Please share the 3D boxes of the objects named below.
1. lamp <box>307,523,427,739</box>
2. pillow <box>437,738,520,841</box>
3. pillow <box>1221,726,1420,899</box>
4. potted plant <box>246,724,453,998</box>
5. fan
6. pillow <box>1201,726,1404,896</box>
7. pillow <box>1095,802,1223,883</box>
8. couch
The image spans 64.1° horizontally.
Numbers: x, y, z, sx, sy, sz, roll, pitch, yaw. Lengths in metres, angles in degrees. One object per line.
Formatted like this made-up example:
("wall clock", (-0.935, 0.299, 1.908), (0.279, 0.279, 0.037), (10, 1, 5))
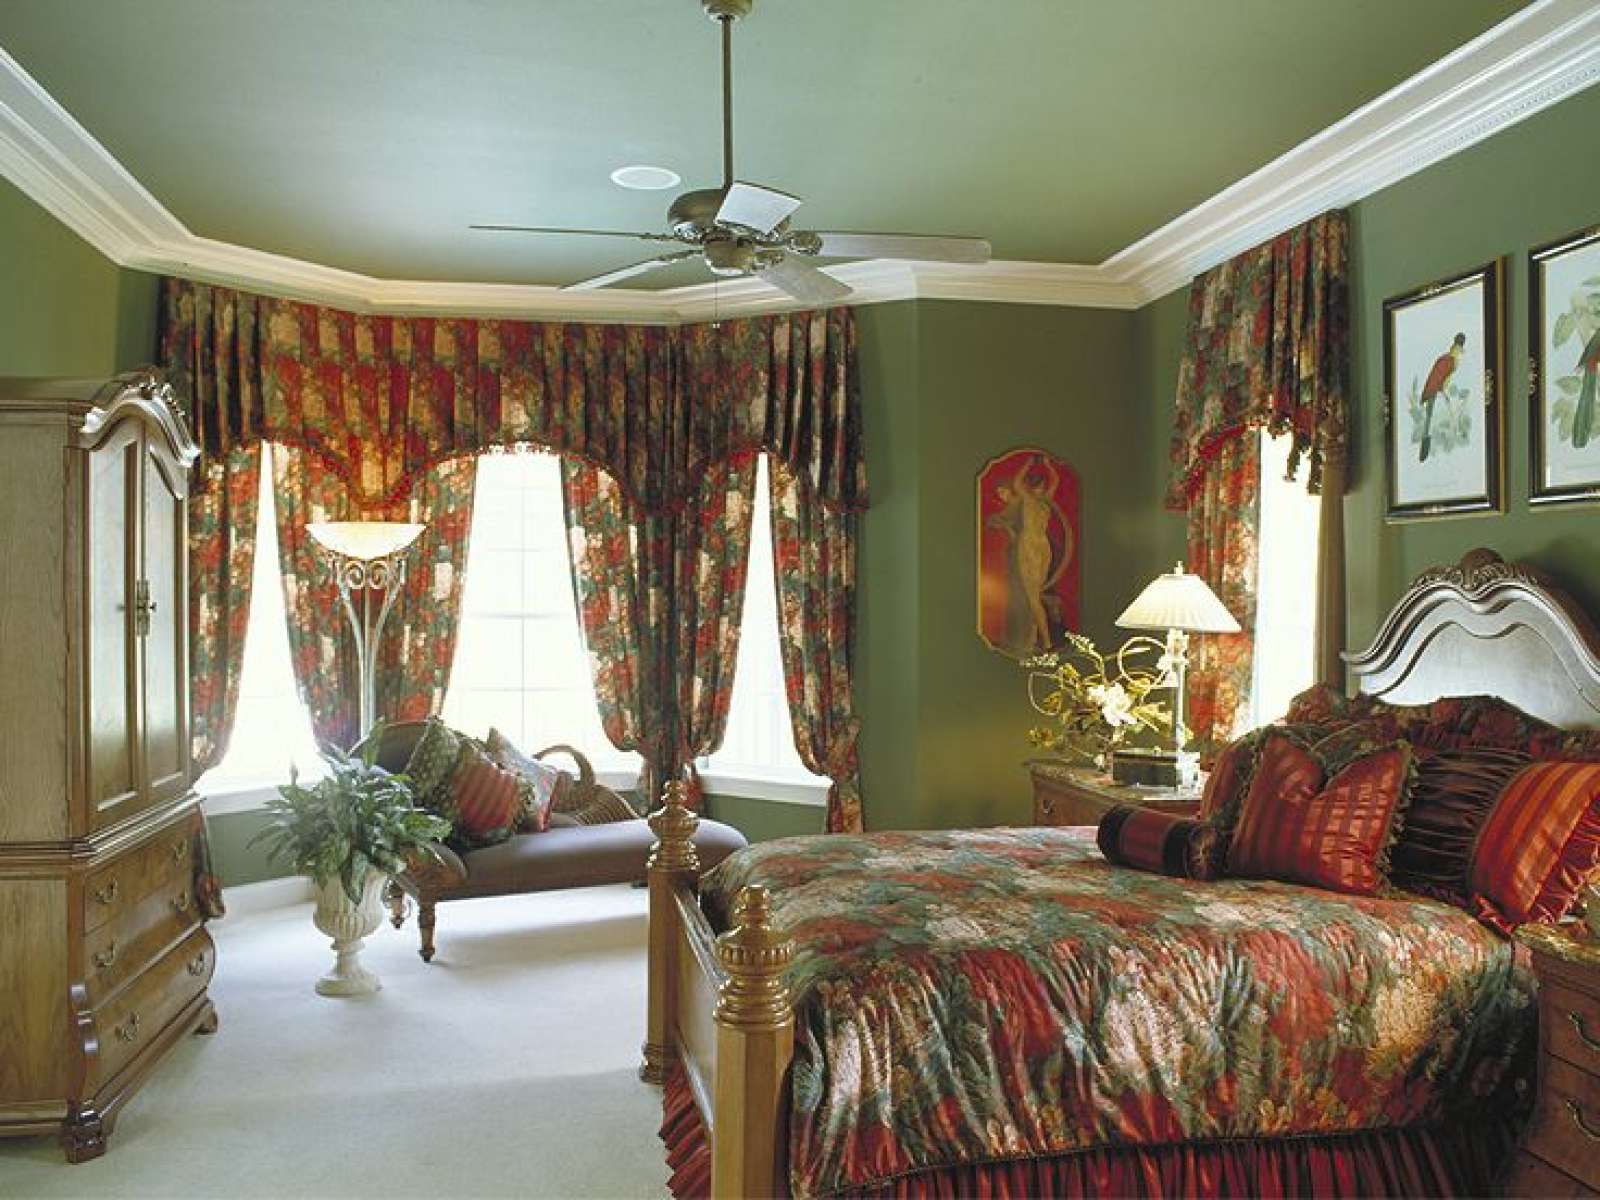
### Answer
("lamp", (-2.364, 0.181, 7.057), (0.636, 1.241, 0.707), (-2, 6, -20))
("pillow", (-1.604, 0.965, 6.311), (0.425, 0.460, 0.329), (6, -3, 1))
("pillow", (1.732, 0.703, 4.225), (0.149, 0.496, 0.492), (28, -10, -40))
("potted plant", (-2.098, 1.213, 5.981), (0.986, 1.265, 0.959), (5, -8, -32))
("fan", (-0.143, -1.857, 4.716), (1.209, 0.878, 1.288), (1, -5, -6))
("pillow", (1.709, 0.723, 4.231), (0.147, 0.487, 0.486), (28, -15, -33))
("pillow", (1.241, 0.836, 4.391), (0.204, 0.196, 0.298), (17, -9, -25))
("couch", (-1.286, 1.142, 6.563), (1.761, 1.098, 1.094), (-1, 2, -28))
